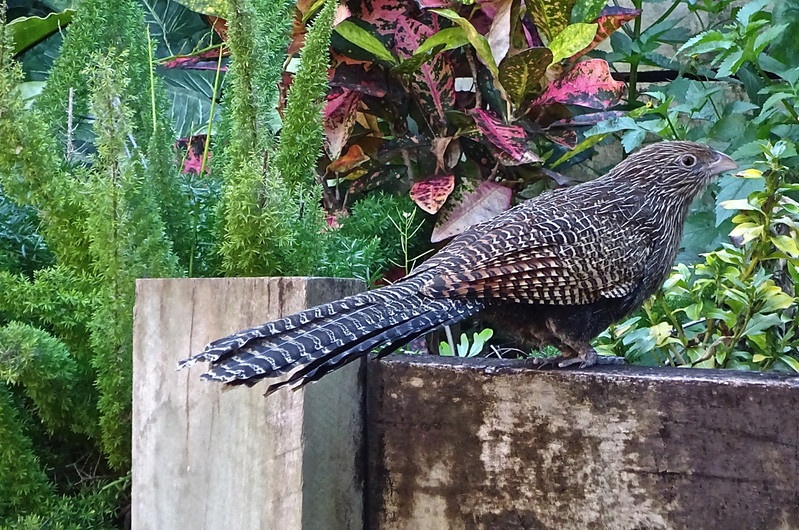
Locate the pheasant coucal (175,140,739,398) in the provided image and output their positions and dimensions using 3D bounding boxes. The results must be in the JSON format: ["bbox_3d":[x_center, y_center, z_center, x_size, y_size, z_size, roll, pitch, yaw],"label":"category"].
[{"bbox_3d":[0.270,-0.004,3.727,1.894,0.703,0.510,-4,4,-15],"label":"pheasant coucal"}]
